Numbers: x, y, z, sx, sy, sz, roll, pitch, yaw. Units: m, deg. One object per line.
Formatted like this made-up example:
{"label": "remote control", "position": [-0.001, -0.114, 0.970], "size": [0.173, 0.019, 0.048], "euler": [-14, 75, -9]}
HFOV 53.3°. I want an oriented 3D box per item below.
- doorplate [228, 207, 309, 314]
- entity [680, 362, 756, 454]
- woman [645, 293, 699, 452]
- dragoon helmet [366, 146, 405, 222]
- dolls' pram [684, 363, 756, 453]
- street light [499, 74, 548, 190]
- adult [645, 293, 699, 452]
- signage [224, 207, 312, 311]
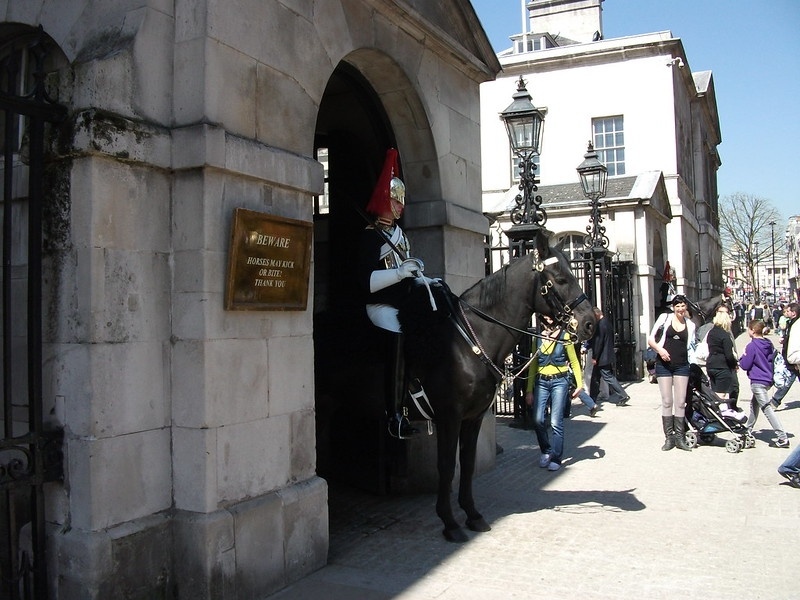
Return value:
{"label": "doorplate", "position": [-1.154, -0.350, 6.800], "size": [0.074, 0.773, 0.804], "euler": [6, 0, 33]}
{"label": "entity", "position": [4.601, 1.636, 11.805], "size": [1.148, 1.714, 0.847], "euler": [-1, -5, 23]}
{"label": "woman", "position": [3.845, 1.049, 11.354], "size": [0.588, 2.233, 0.534], "euler": [1, 2, 21]}
{"label": "dragoon helmet", "position": [-0.208, -1.131, 8.242], "size": [0.490, 0.998, 0.815], "euler": [0, 4, 1]}
{"label": "dolls' pram", "position": [4.610, 1.663, 11.806], "size": [1.157, 1.716, 0.849], "euler": [-1, -5, 25]}
{"label": "street light", "position": [2.039, -2.930, 13.250], "size": [0.660, 1.984, 2.025], "euler": [1, 2, 11]}
{"label": "adult", "position": [3.845, 1.049, 11.354], "size": [0.588, 2.233, 0.534], "euler": [1, 2, 21]}
{"label": "signage", "position": [-1.107, -0.335, 6.837], "size": [0.801, 0.834, 0.081], "euler": [5, -1, 22]}
